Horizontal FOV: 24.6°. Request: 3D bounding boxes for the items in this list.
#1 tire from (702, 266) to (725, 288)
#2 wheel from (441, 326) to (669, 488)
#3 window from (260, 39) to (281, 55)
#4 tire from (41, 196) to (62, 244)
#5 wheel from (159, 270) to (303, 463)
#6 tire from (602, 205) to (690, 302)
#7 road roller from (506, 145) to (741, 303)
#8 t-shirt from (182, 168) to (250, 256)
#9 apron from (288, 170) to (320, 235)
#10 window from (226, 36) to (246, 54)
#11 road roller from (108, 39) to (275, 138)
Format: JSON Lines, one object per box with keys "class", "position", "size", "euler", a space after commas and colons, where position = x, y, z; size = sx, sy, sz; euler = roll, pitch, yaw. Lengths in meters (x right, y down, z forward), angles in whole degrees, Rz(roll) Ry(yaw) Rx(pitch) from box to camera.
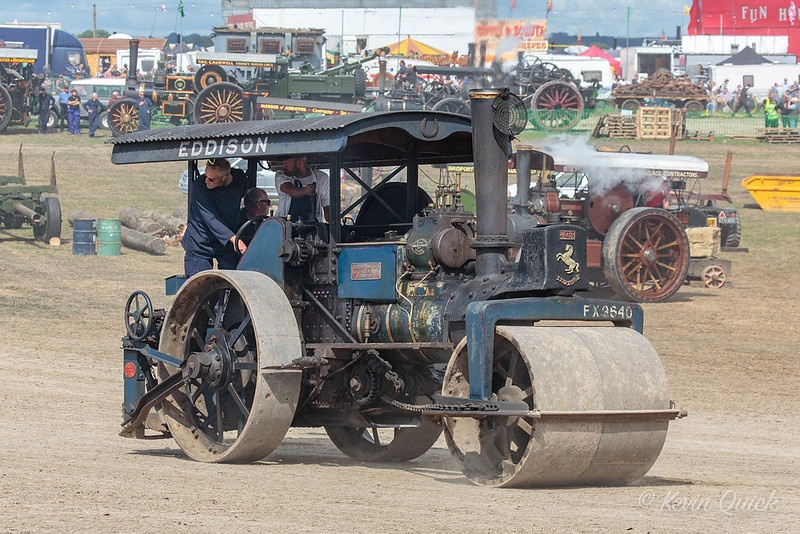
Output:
{"class": "tire", "position": [7.670, 0.180, 45.118], "size": [0.420, 0.488, 0.144], "euler": [-4, 6, 8]}
{"class": "wheel", "position": [2.815, 2.382, 33.003], "size": [3.462, 3.133, 2.854], "euler": [2, -4, -36]}
{"class": "window", "position": [-4.326, -7.369, 61.654], "size": [0.813, 0.689, 0.497], "euler": [1, 1, 1]}
{"class": "tire", "position": [-8.871, -1.212, 46.763], "size": [0.278, 1.082, 0.998], "euler": [1, 6, -12]}
{"class": "wheel", "position": [-3.038, 1.777, 33.576], "size": [2.677, 3.254, 1.086], "euler": [12, 8, 38]}
{"class": "tire", "position": [5.623, -0.357, 42.761], "size": [1.617, 1.785, 0.450], "euler": [-24, 16, -35]}
{"class": "road roller", "position": [5.328, -0.980, 44.168], "size": [5.691, 3.440, 2.988], "euler": [0, 1, -12]}
{"class": "t-shirt", "position": [-3.403, -1.293, 34.955], "size": [1.069, 0.586, 1.555], "euler": [-13, 31, -1]}
{"class": "apron", "position": [-1.785, -1.182, 34.466], "size": [0.898, 1.368, 0.686], "euler": [0, 1, -10]}
{"class": "window", "position": [-5.443, -7.469, 61.537], "size": [0.556, 0.573, 0.152], "euler": [-2, 3, 12]}
{"class": "road roller", "position": [-6.594, -5.635, 58.862], "size": [4.848, 3.221, 2.751], "euler": [4, 4, 3]}
